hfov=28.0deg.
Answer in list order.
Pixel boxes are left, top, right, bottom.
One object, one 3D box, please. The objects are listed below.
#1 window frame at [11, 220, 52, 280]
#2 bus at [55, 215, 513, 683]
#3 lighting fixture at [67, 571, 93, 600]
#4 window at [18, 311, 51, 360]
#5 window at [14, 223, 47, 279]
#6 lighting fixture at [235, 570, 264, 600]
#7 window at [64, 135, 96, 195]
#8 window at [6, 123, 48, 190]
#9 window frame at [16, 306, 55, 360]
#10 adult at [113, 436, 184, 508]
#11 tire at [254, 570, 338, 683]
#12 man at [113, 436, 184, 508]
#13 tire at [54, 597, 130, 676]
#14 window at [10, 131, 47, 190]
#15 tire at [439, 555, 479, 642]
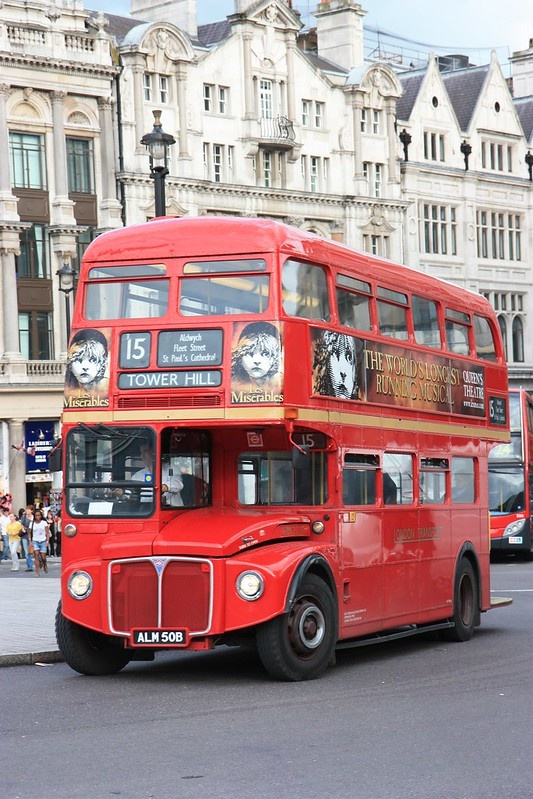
[{"bbox_3d":[-9.902,-6.390,45.447,0.129,3.048,2.527,1,0,34],"label":"window frame"},{"bbox_3d":[0.707,0.564,12.319,2.433,4.435,6.173,0,-3,32],"label":"bus"},{"bbox_3d":[-1.684,1.696,9.793,0.228,0.255,0.049,1,-3,37],"label":"lighting fixture"},{"bbox_3d":[-9.790,-2.686,45.482,0.168,2.476,1.940,-1,-2,38],"label":"window"},{"bbox_3d":[-9.945,-6.345,45.465,0.097,2.531,2.106,-2,-7,32],"label":"window"},{"bbox_3d":[-0.149,1.607,9.288,0.205,0.244,0.228,1,-1,8],"label":"lighting fixture"},{"bbox_3d":[-8.126,-10.267,46.900,0.102,3.168,2.666,0,-1,30],"label":"window"},{"bbox_3d":[-10.036,-10.270,45.136,0.219,3.360,2.778,3,4,34],"label":"window"},{"bbox_3d":[-9.761,-2.785,45.490,0.357,2.435,1.933,-3,-9,37],"label":"window frame"},{"bbox_3d":[-1.063,0.781,9.910,0.504,0.747,0.454,-13,-10,12],"label":"adult"},{"bbox_3d":[0.236,2.016,9.561,0.289,0.998,0.862,0,-16,31],"label":"tire"},{"bbox_3d":[-0.981,0.673,10.010,0.533,0.813,0.518,-5,-8,12],"label":"man"},{"bbox_3d":[-1.600,2.212,10.056,0.227,0.706,0.720,-16,7,30],"label":"tire"},{"bbox_3d":[-9.999,-10.106,45.236,0.204,2.970,2.462,3,4,34],"label":"window"},{"bbox_3d":[2.451,2.599,14.163,0.319,1.093,1.045,-3,-19,30],"label":"tire"}]
